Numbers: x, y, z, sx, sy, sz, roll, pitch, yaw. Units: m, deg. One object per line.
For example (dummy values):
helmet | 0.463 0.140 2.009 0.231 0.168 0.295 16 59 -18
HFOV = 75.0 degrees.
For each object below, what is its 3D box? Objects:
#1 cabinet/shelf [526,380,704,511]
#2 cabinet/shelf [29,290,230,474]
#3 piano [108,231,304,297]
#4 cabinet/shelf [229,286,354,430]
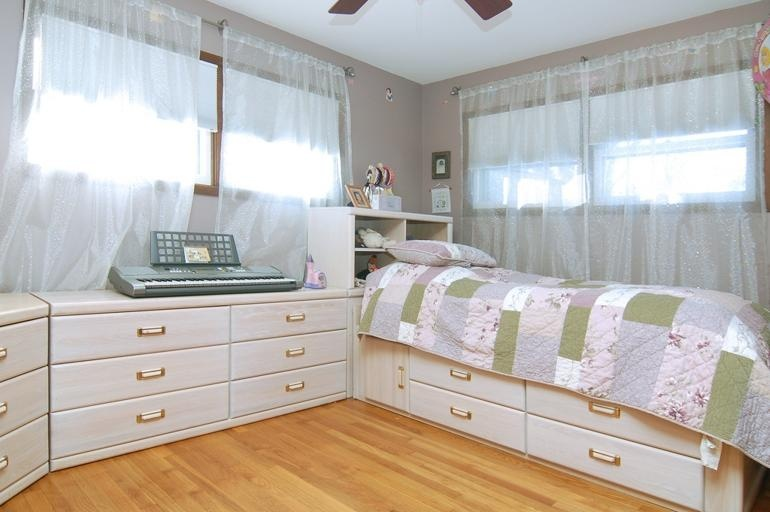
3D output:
cabinet/shelf | 1.158 0.942 2.507 0.774 0.349 0.479 -1 -4 39
cabinet/shelf | -1.464 0.609 3.113 1.403 1.064 0.750 -1 -1 -40
piano | -1.151 0.048 3.172 0.987 0.412 0.493 -8 14 -38
cabinet/shelf | -0.631 0.667 3.230 0.955 0.716 0.362 -1 0 -38
